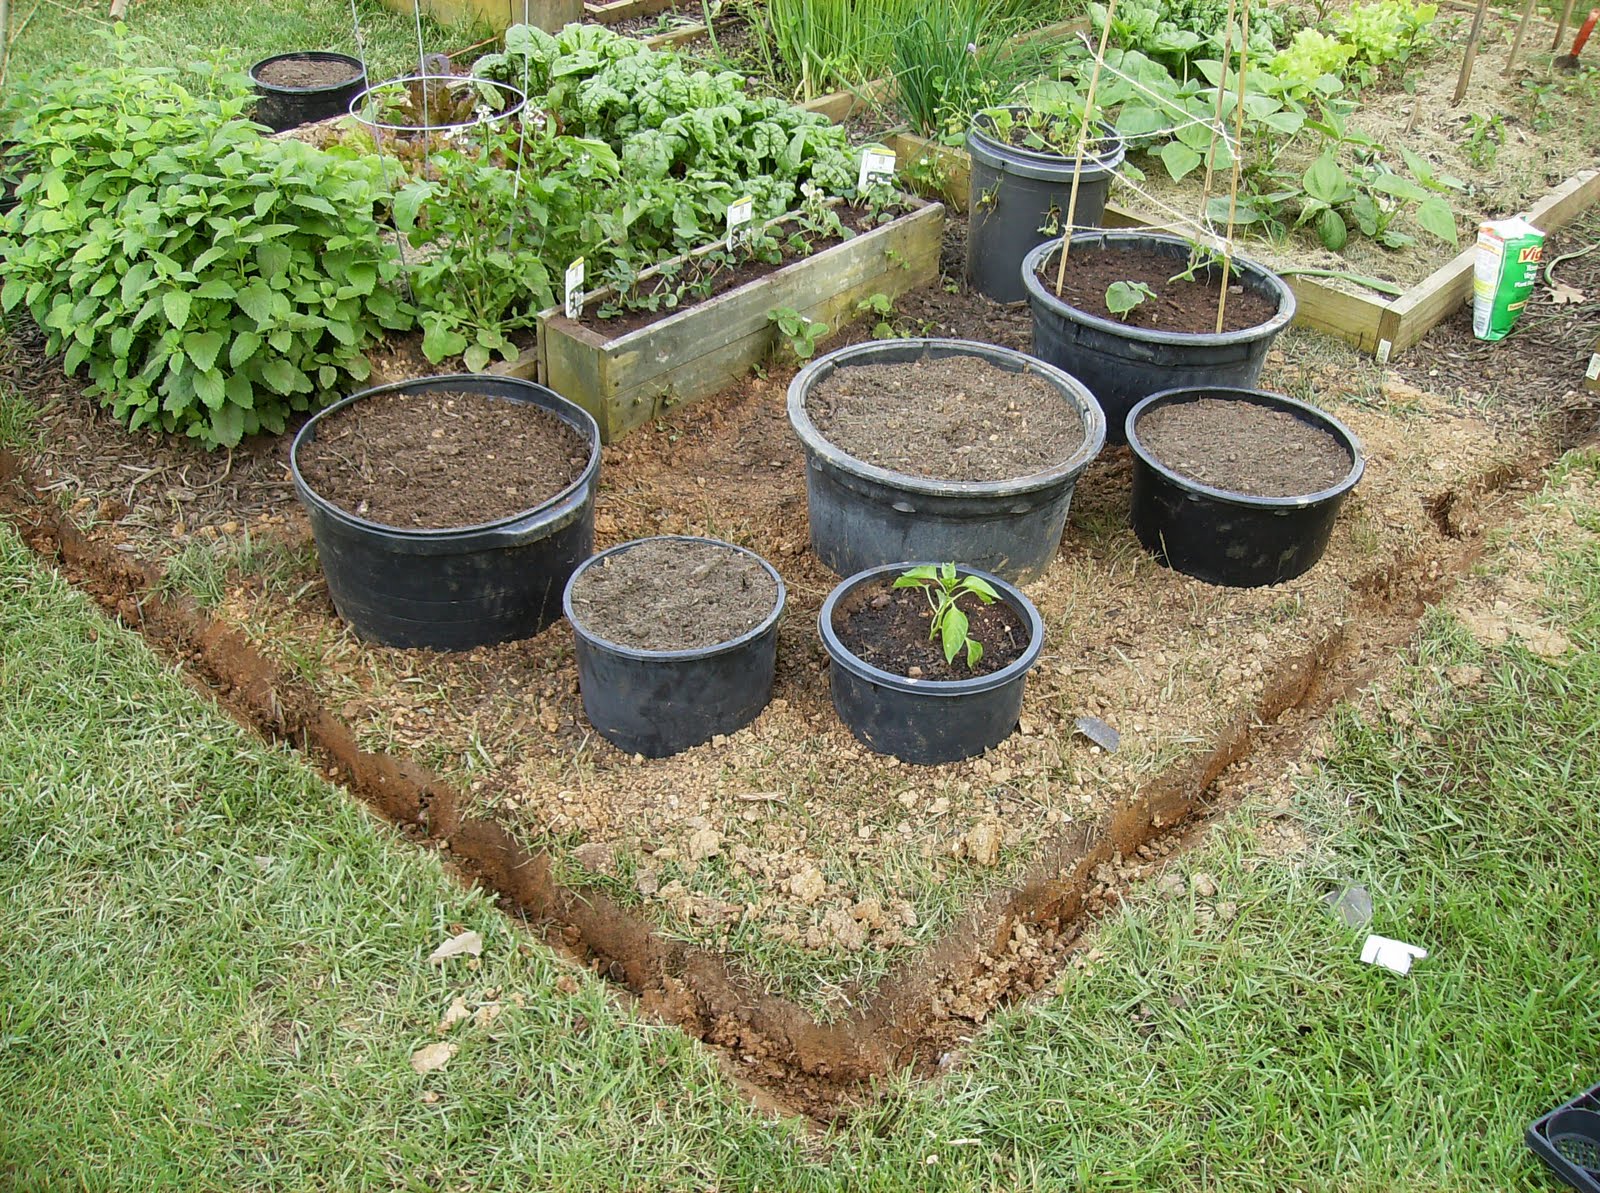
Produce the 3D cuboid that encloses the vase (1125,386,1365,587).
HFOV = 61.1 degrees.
[{"bbox_3d":[1.571,-0.413,4.861,0.812,0.380,0.799,-11,38,-14],"label":"vase"}]

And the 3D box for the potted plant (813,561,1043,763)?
[{"bbox_3d":[0.351,0.224,4.265,0.725,0.323,0.706,-6,28,-13],"label":"potted plant"}]

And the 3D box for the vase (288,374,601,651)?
[{"bbox_3d":[-1.167,-0.307,4.616,1.000,0.535,0.999,14,38,10],"label":"vase"}]

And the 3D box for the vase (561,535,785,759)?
[{"bbox_3d":[-0.415,0.149,4.299,0.681,0.442,0.700,29,39,35],"label":"vase"}]

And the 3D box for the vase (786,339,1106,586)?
[{"bbox_3d":[0.489,-0.470,4.751,0.961,0.459,0.990,1,40,1],"label":"vase"}]
